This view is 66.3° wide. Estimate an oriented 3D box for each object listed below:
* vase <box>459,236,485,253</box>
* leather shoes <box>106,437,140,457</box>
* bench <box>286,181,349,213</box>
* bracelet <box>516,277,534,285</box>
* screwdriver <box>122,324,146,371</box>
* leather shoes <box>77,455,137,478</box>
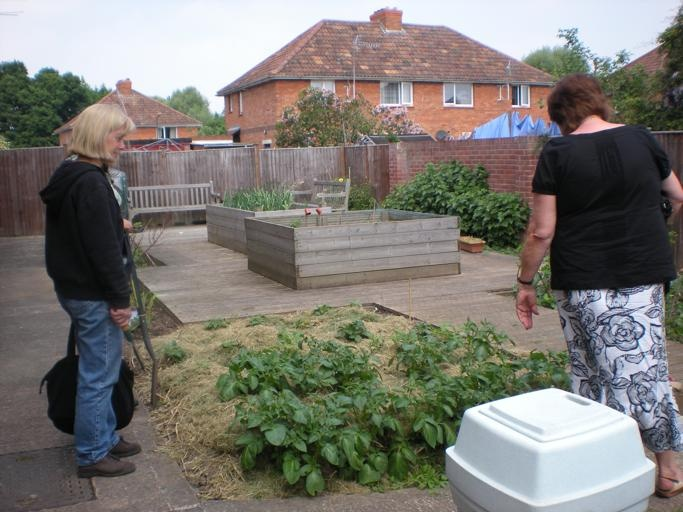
[{"bbox_3d":[2.480,-0.223,9.960,0.515,0.267,0.510,8,15,43],"label":"vase"},{"bbox_3d":[-1.354,1.168,3.223,0.193,0.080,0.076,0,5,-29],"label":"leather shoes"},{"bbox_3d":[-0.537,-1.420,12.612,0.758,1.008,1.701,0,3,-34],"label":"bench"},{"bbox_3d":[1.002,0.141,2.885,0.063,0.017,0.060,6,7,37],"label":"bracelet"},{"bbox_3d":[-1.756,0.785,4.396,0.079,0.564,0.081,-23,-6,42],"label":"screwdriver"},{"bbox_3d":[-1.343,1.213,3.023,0.316,0.132,0.124,0,3,-14],"label":"leather shoes"}]
